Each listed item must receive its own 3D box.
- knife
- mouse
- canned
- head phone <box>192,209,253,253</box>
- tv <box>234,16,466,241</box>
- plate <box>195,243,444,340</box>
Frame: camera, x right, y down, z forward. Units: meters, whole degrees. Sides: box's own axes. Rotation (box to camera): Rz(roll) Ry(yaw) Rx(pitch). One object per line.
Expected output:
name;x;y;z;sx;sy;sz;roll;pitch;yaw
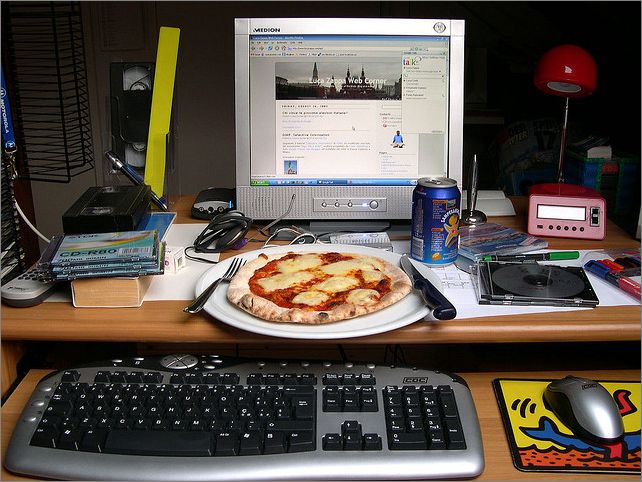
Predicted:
knife;0.182;0.071;0.899;0.037;0.021;0.202;-6;31;-14
mouse;0.419;0.248;0.773;0.096;0.052;0.154;-7;16;-5
canned;0.246;-0.038;1.041;0.107;0.159;0.099;-2;15;-4
head phone;-0.223;-0.016;1.147;0.117;0.040;0.091;-33;56;-23
tv;0.072;-0.286;1.177;0.629;0.453;0.206;0;9;-1
plate;0.029;0.065;0.985;0.379;0.034;0.385;8;11;32
